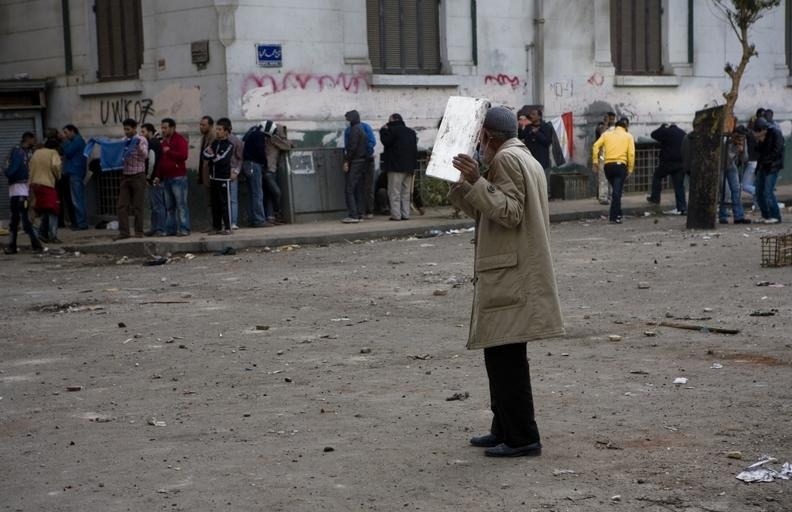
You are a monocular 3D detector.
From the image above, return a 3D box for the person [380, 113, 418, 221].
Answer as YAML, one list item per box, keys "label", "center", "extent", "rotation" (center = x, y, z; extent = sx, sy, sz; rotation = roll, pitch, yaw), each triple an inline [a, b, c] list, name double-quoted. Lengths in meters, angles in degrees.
- label: "person"
  center: [0.110, -1.930, 27.990]
  extent: [0.758, 2.309, 0.506]
  rotation: [-4, 4, -2]

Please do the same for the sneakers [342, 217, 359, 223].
- label: "sneakers"
  center: [-0.971, -0.761, 27.891]
  extent: [0.366, 0.140, 0.133]
  rotation: [3, 4, 3]

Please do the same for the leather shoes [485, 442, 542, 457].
- label: "leather shoes"
  center: [1.453, 2.378, 15.668]
  extent: [0.574, 0.167, 0.239]
  rotation: [1, -6, 0]

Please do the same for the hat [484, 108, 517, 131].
- label: "hat"
  center: [1.292, -1.663, 15.661]
  extent: [0.362, 0.192, 0.274]
  rotation: [10, 15, 33]

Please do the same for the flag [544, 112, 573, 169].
- label: "flag"
  center: [4.028, -2.877, 31.533]
  extent: [0.157, 1.423, 1.314]
  rotation: [4, 18, 40]

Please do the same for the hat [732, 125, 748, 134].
- label: "hat"
  center: [7.434, -2.714, 27.445]
  extent: [0.232, 0.107, 0.309]
  rotation: [1, -3, 9]

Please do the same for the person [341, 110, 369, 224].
- label: "person"
  center: [-0.879, -1.934, 27.900]
  extent: [0.686, 2.390, 0.513]
  rotation: [-6, 5, -27]

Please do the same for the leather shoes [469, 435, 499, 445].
- label: "leather shoes"
  center: [1.112, 2.283, 15.798]
  extent: [0.321, 0.125, 0.143]
  rotation: [1, 1, 13]
